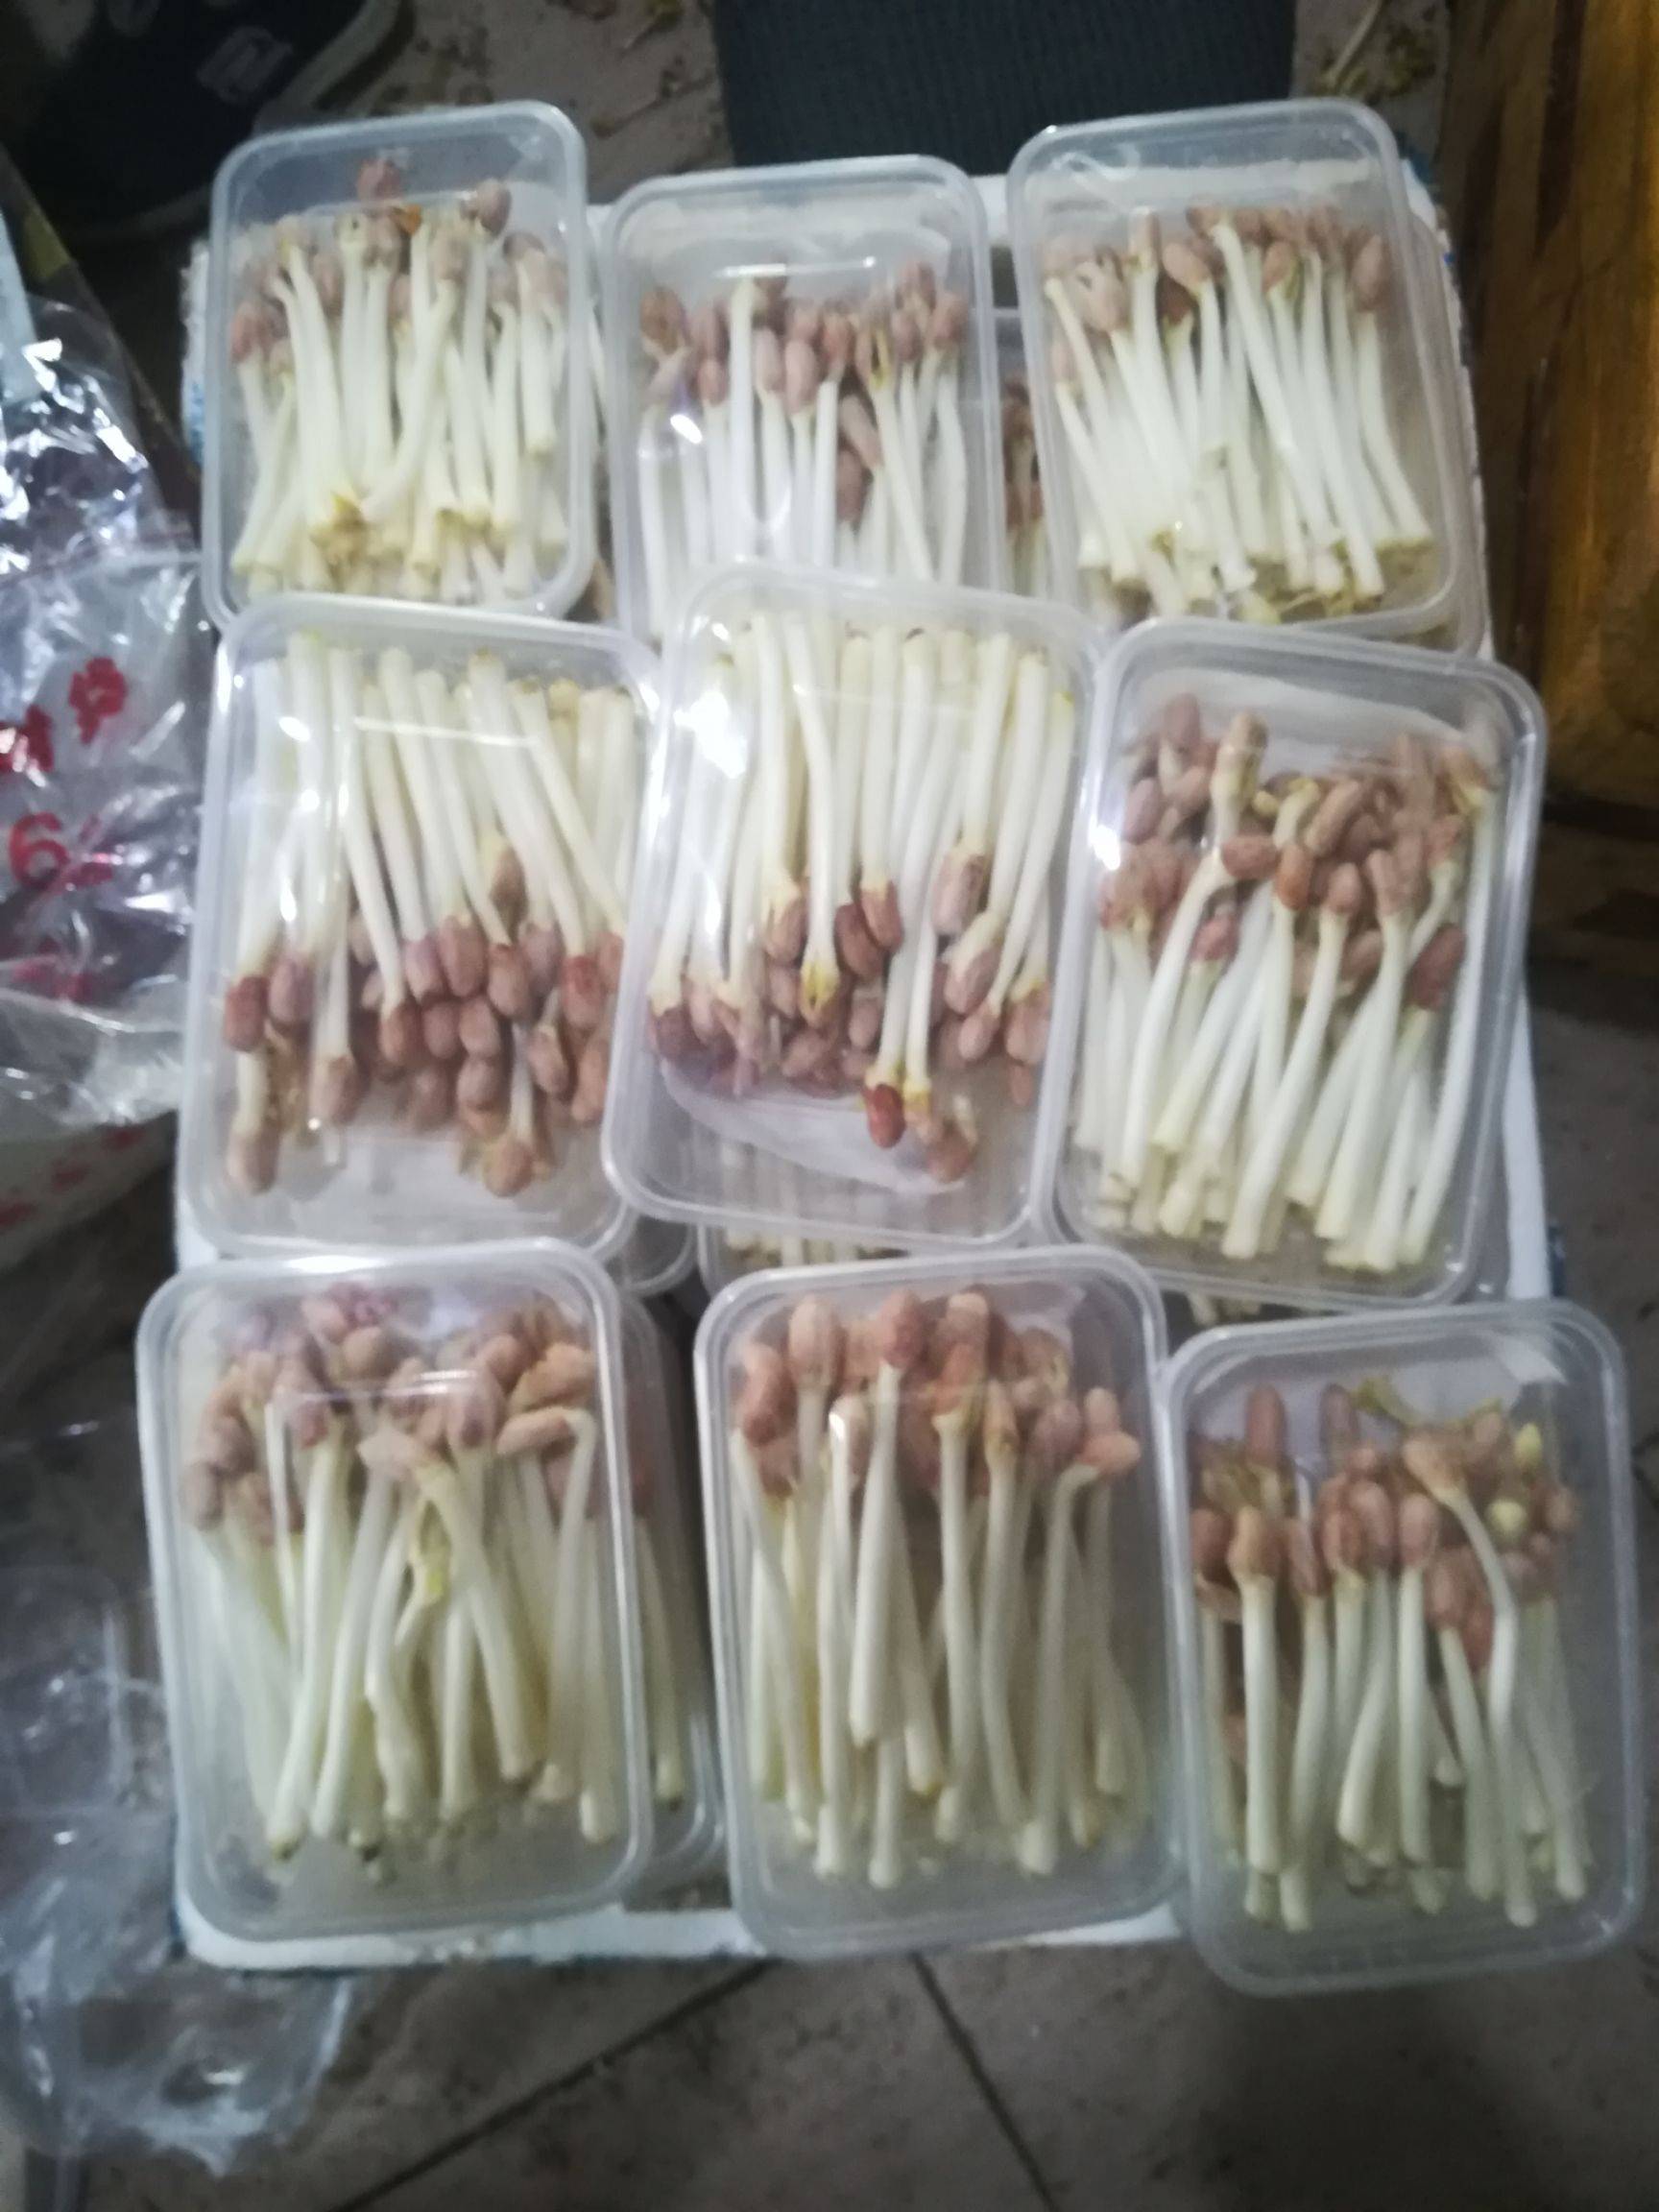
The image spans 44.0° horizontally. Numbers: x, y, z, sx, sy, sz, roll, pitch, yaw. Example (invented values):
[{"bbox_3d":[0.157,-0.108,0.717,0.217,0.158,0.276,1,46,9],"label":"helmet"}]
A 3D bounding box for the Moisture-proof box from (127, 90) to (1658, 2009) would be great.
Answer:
[{"bbox_3d":[-0.010,-0.052,1.789,0.899,0.460,1.448,-2,88,-1],"label":"Moisture-proof box"}]
